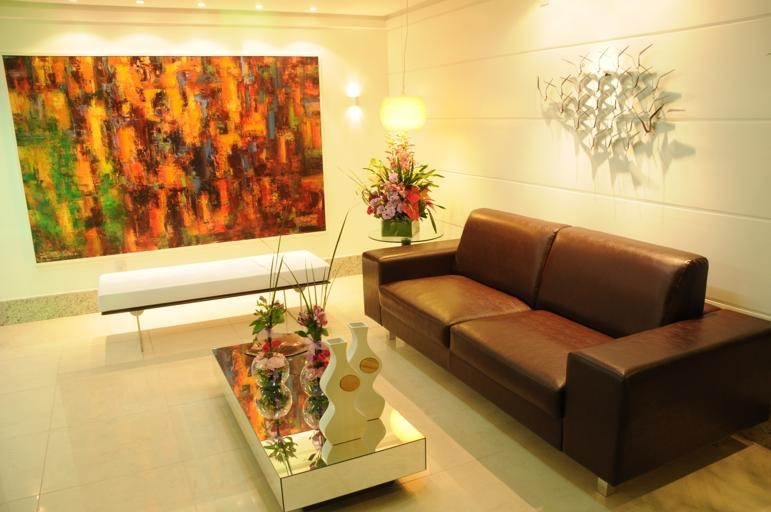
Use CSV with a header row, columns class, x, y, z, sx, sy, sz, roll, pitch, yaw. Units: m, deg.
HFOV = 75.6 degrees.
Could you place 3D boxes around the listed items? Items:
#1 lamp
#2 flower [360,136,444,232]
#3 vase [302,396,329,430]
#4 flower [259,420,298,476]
class,x,y,z,sx,sy,sz,roll,pitch,yaw
lamp,0.217,-2.244,5.888,0.513,1.533,0.989,1,17,3
flower,0.250,-0.850,5.797,0.975,1.314,1.284,3,19,12
vase,-0.470,1.038,3.277,0.149,0.115,0.158,0,-2,-5
flower,-0.651,1.168,3.068,0.160,0.320,0.168,-24,33,-26
